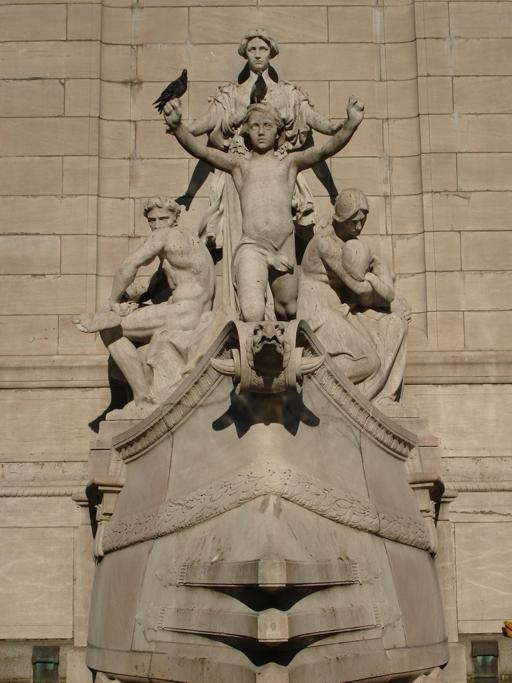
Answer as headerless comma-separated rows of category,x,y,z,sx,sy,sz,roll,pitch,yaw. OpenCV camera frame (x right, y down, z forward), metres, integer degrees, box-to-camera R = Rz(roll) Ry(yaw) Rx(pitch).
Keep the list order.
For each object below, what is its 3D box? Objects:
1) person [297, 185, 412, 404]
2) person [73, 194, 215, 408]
person,0.884,-0.440,20.413,0.907,2.020,0.820,-4,19,5
person,-0.932,-0.281,20.478,1.095,2.148,0.868,2,-15,10
